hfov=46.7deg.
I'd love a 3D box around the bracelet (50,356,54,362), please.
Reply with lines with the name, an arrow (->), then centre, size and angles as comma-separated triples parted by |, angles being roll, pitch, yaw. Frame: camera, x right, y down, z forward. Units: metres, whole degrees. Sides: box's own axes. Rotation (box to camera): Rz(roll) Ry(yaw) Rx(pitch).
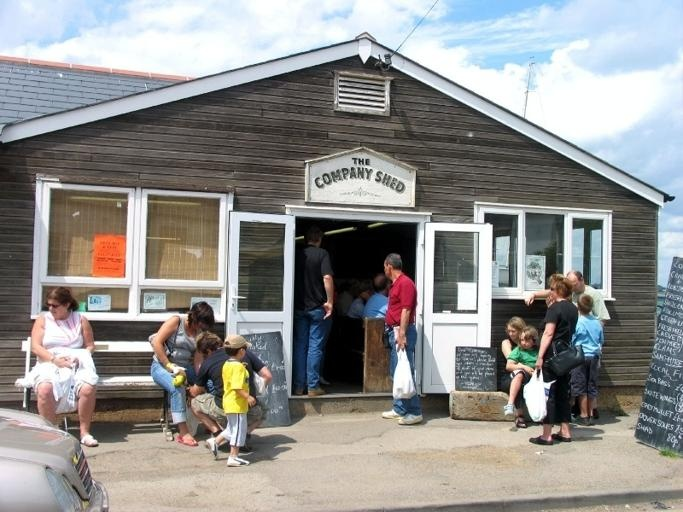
bracelet -> -3.500, 1.258, 9.569 | 0.052, 0.048, 0.052 | 2, -5, -18

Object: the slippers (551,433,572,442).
slippers -> 2.898, 2.404, 10.400 | 0.278, 0.100, 0.101 | -1, -3, 17

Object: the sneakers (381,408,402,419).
sneakers -> 0.702, 2.257, 11.212 | 0.250, 0.104, 0.122 | 2, -1, -1

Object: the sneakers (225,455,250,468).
sneakers -> -1.220, 2.405, 9.190 | 0.307, 0.128, 0.106 | 2, -2, -12

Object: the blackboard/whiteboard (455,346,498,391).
blackboard/whiteboard -> 1.963, 1.673, 11.512 | 0.657, 0.643, 0.064 | 0, -7, -5

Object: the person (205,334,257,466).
person -> -1.289, 1.698, 9.254 | 0.553, 1.473, 0.481 | 0, 8, -9

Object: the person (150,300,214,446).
person -> -1.936, 1.441, 10.039 | 0.808, 1.646, 1.116 | 3, 3, -41

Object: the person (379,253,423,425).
person -> 0.880, 1.171, 11.027 | 0.595, 2.356, 0.795 | 2, 8, 3

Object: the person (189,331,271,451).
person -> -1.388, 1.645, 9.689 | 1.085, 1.408, 0.656 | -5, 4, -5

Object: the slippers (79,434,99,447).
slippers -> -3.105, 2.279, 9.684 | 0.105, 0.079, 0.263 | 3, -3, -39

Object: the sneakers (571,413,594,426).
sneakers -> 3.539, 2.432, 11.708 | 0.162, 0.159, 0.404 | 0, 2, -29

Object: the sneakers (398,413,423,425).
sneakers -> 0.964, 2.293, 11.018 | 0.368, 0.142, 0.134 | 4, -6, -31

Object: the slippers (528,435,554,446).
slippers -> 2.598, 2.411, 10.255 | 0.305, 0.109, 0.118 | 3, 1, 26

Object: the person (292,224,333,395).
person -> -0.411, 0.797, 11.396 | 0.533, 2.322, 0.786 | 1, 8, -4
